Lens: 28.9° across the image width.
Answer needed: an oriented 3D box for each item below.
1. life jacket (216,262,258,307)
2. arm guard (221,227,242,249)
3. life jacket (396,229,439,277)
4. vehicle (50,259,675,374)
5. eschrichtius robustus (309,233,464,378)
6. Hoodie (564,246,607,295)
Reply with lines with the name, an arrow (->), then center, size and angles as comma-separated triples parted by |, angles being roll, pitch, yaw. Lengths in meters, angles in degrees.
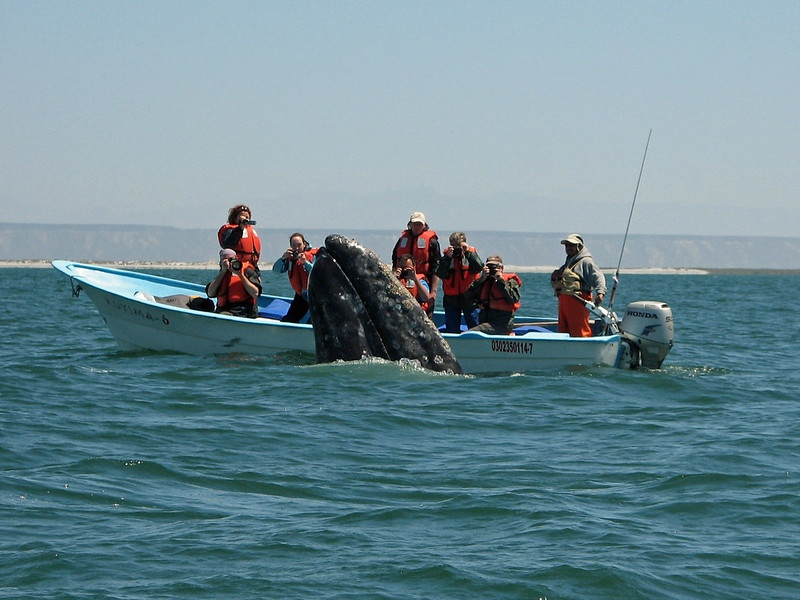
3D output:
life jacket -> -2.500, -0.200, 23.766 | 0.942, 0.664, 0.428 | -1, 2, -2
arm guard -> -2.708, -0.949, 24.557 | 0.262, 0.388, 0.415 | 9, 15, 29
life jacket -> 0.296, -0.728, 24.317 | 0.922, 0.691, 0.453 | 7, 14, 27
vehicle -> -0.770, 0.342, 23.872 | 11.487, 1.509, 2.307 | 3, -4, 3
eschrichtius robustus -> -0.270, 0.167, 20.623 | 1.299, 2.186, 0.731 | -32, 32, 26
Hoodie -> 2.668, -0.362, 22.503 | 0.327, 0.368, 0.945 | -11, 20, -20
